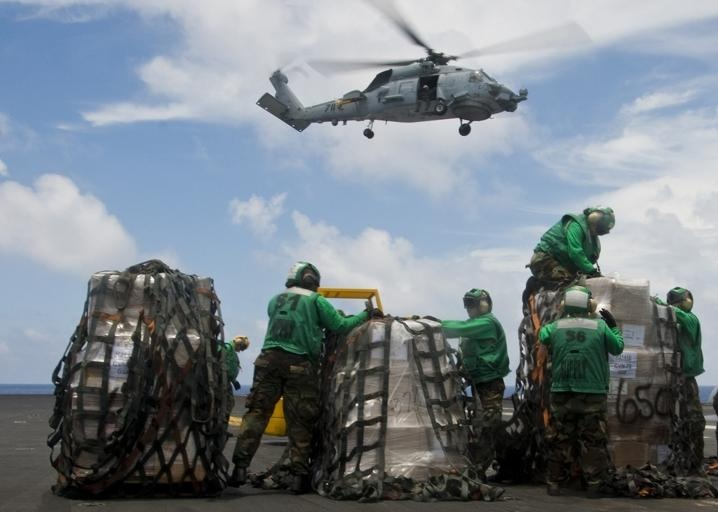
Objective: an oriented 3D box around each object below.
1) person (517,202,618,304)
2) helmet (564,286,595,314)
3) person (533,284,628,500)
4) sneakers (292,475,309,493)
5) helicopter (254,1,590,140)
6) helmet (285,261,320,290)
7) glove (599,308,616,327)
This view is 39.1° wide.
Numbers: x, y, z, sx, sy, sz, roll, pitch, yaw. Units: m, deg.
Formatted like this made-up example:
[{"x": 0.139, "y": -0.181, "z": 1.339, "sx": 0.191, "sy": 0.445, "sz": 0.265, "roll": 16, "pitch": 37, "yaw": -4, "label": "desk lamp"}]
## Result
[{"x": 2.737, "y": 0.101, "z": 12.875, "sx": 0.999, "sy": 1.264, "sz": 0.914, "roll": -1, "pitch": -2, "yaw": -19, "label": "person"}, {"x": 2.639, "y": 0.554, "z": 12.161, "sx": 0.293, "sy": 0.304, "sz": 0.346, "roll": 2, "pitch": -12, "yaw": 3, "label": "helmet"}, {"x": 2.693, "y": 1.523, "z": 12.183, "sx": 1.196, "sy": 2.107, "sz": 1.181, "roll": 0, "pitch": 1, "yaw": -5, "label": "person"}, {"x": -0.680, "y": 2.654, "z": 11.764, "sx": 0.164, "sy": 0.192, "sz": 0.116, "roll": 13, "pitch": -49, "yaw": -11, "label": "sneakers"}, {"x": 0.749, "y": -4.325, "z": 28.239, "sx": 8.242, "sy": 2.611, "sz": 7.162, "roll": -3, "pitch": -3, "yaw": 42, "label": "helicopter"}, {"x": -0.635, "y": 0.257, "z": 11.480, "sx": 0.327, "sy": 0.261, "sz": 0.269, "roll": -16, "pitch": 18, "yaw": -33, "label": "helmet"}, {"x": 3.000, "y": 0.749, "z": 12.173, "sx": 0.064, "sy": 0.221, "sz": 0.067, "roll": -25, "pitch": -24, "yaw": -36, "label": "glove"}]
